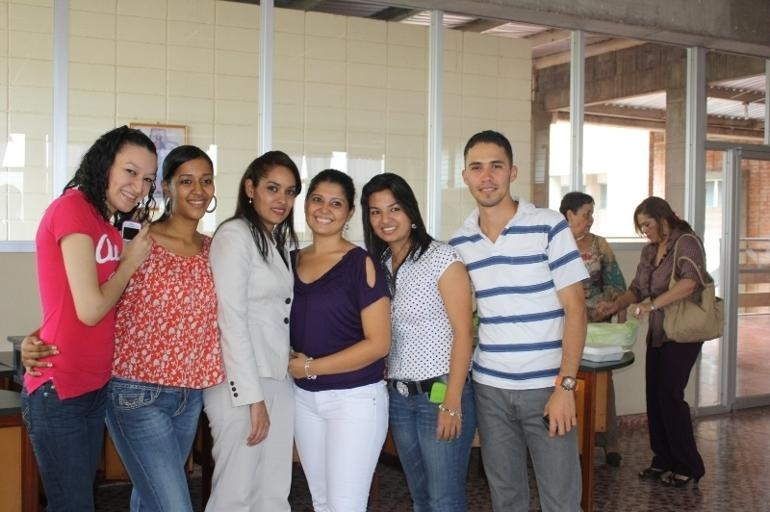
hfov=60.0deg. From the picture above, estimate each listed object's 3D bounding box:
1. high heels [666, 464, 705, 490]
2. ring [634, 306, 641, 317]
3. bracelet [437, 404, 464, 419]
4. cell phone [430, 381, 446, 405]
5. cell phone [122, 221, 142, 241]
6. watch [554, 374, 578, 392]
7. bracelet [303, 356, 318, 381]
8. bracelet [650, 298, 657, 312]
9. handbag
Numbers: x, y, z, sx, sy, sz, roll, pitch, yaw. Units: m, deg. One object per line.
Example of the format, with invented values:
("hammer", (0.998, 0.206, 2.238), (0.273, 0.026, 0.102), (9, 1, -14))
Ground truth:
("high heels", (2.504, 1.847, 5.638), (0.312, 0.161, 0.170), (4, 0, 6))
("ring", (2.019, 0.453, 5.338), (0.017, 0.066, 0.046), (7, 5, -3))
("bracelet", (0.375, 0.873, 3.756), (0.141, 0.095, 0.070), (0, 6, -7))
("cell phone", (0.301, 0.770, 3.758), (0.106, 0.109, 0.026), (5, 6, -5))
("cell phone", (-1.350, -0.125, 3.563), (0.084, 0.122, 0.013), (11, -22, -17))
("watch", (1.009, 0.707, 3.711), (0.100, 0.069, 0.104), (5, -12, 0))
("bracelet", (-0.420, 0.643, 3.784), (0.041, 0.119, 0.087), (-4, 14, -16))
("bracelet", (2.221, 0.418, 5.550), (0.027, 0.093, 0.065), (9, -21, -28))
("handbag", (2.623, 0.476, 5.687), (0.564, 0.575, 0.393), (-6, 2, -18))
